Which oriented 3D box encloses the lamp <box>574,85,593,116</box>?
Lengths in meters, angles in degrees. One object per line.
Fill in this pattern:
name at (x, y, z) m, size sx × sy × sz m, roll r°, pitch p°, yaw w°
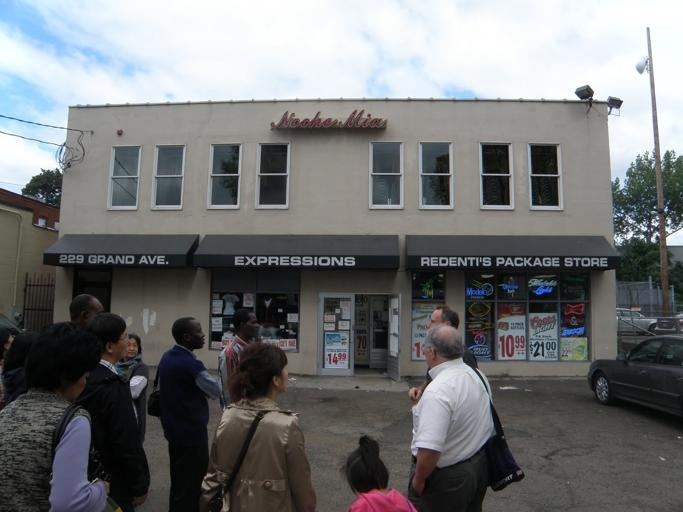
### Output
lamp at (6.707, -4.390, 16.603) m, size 0.439 × 0.668 × 0.894 m, roll 0°, pitch -1°, yaw 21°
